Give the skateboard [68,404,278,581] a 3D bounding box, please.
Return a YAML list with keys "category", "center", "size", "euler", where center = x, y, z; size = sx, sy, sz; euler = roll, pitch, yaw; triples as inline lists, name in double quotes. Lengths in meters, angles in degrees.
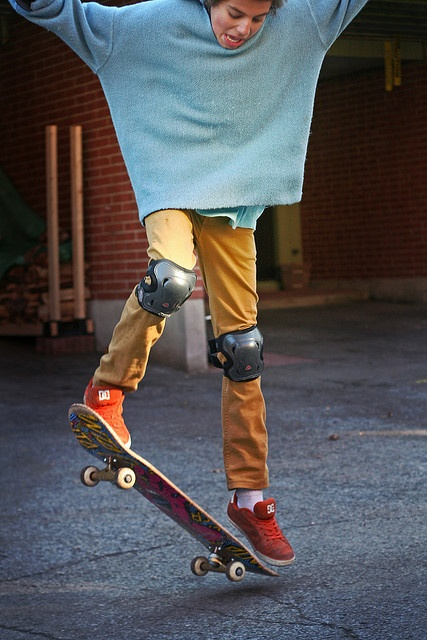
- category: "skateboard"
  center: [-0.161, 0.664, 2.373]
  size: [0.111, 0.672, 0.170]
  euler: [-52, 7, -28]
